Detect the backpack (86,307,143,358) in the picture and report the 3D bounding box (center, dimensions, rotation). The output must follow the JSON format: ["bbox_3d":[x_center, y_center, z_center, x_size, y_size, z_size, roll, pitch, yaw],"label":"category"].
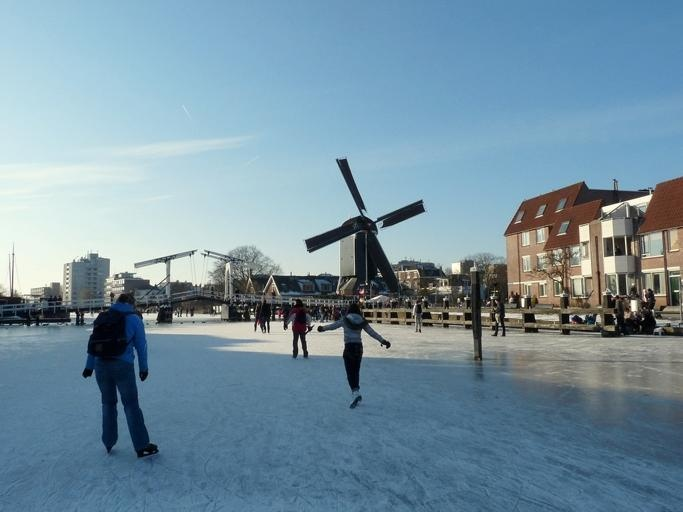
[{"bbox_3d":[-3.233,1.058,7.274,0.471,0.711,0.665,-6,-19,16],"label":"backpack"}]

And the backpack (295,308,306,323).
[{"bbox_3d":[-1.320,1.952,17.455,0.292,0.516,0.473,-4,-4,28],"label":"backpack"}]

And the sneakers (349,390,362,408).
[{"bbox_3d":[0.251,2.644,9.811,0.083,0.240,0.179,28,1,-9],"label":"sneakers"}]
